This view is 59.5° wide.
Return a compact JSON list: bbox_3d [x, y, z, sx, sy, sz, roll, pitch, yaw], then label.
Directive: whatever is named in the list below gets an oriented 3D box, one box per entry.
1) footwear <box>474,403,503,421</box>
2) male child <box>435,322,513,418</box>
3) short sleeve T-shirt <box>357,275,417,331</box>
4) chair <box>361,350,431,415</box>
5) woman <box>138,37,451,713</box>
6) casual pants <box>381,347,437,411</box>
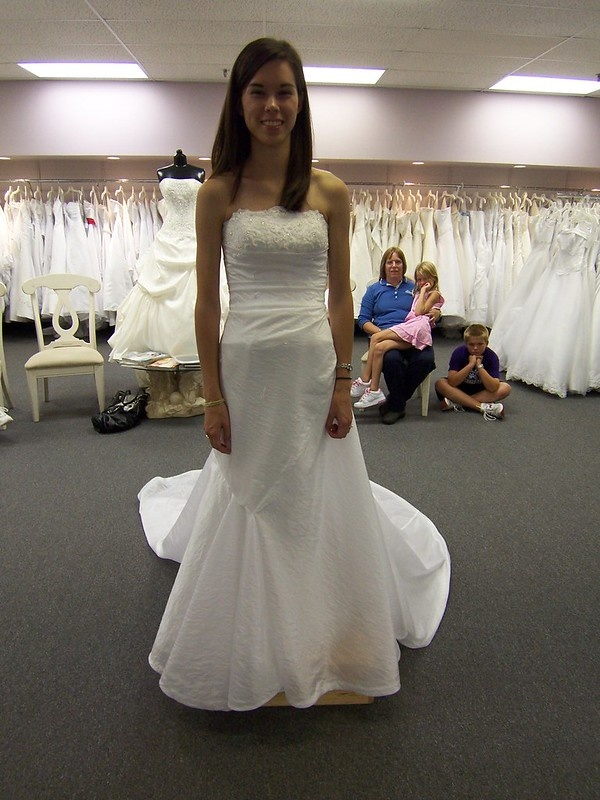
[{"bbox_3d":[1.333,0.062,3.648,0.144,0.099,0.174,2,14,11],"label":"footwear"},{"bbox_3d":[1.241,-0.223,3.757,0.473,0.671,0.572,-3,11,-20],"label":"male child"},{"bbox_3d":[0.726,-0.776,4.181,0.540,0.498,0.326,-2,-2,-6],"label":"short sleeve T-shirt"},{"bbox_3d":[0.769,-0.180,3.756,0.274,0.539,0.213,7,7,25],"label":"chair"},{"bbox_3d":[-0.016,-0.018,1.327,0.809,1.470,0.626,3,13,13],"label":"woman"},{"bbox_3d":[0.736,-0.176,3.849,0.361,0.580,0.440,6,12,8],"label":"casual pants"}]
